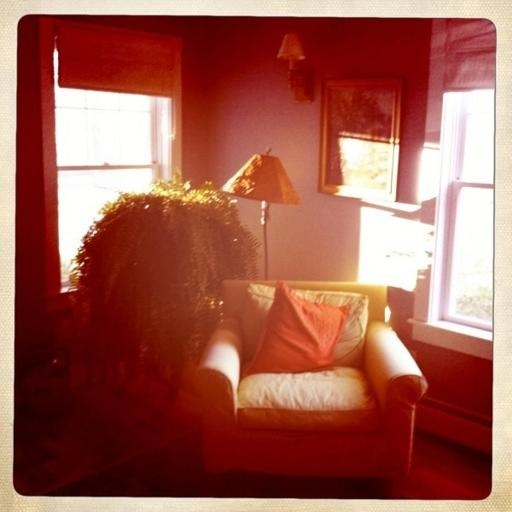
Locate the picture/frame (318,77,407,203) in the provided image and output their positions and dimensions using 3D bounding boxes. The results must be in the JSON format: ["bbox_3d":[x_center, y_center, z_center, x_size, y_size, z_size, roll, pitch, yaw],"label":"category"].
[{"bbox_3d":[0.405,-0.447,1.763,0.352,0.534,0.049,10,16,38],"label":"picture/frame"}]

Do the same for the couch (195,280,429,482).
[{"bbox_3d":[0.168,0.389,1.591,0.622,0.554,0.498,0,5,4],"label":"couch"}]

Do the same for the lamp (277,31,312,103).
[{"bbox_3d":[0.157,-0.697,1.826,0.126,0.293,0.133,-2,-8,14],"label":"lamp"}]

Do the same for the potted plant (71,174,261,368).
[{"bbox_3d":[-0.335,0.077,1.763,0.583,0.659,0.517,10,6,6],"label":"potted plant"}]
